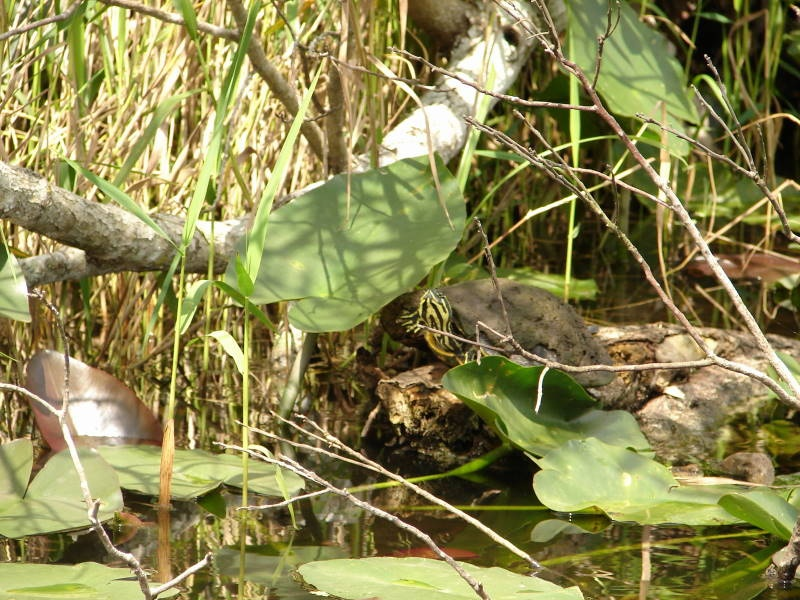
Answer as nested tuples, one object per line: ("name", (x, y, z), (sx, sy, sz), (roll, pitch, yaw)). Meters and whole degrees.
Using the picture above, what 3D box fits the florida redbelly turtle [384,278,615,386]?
("florida redbelly turtle", (0.273, 0.058, 2.939), (0.482, 0.149, 0.352), (4, 7, -20))
